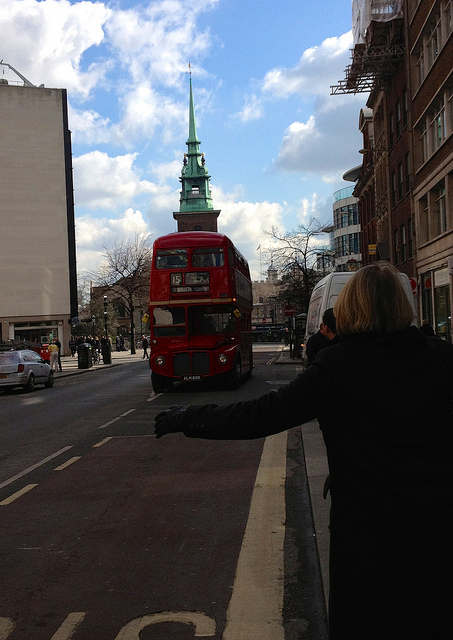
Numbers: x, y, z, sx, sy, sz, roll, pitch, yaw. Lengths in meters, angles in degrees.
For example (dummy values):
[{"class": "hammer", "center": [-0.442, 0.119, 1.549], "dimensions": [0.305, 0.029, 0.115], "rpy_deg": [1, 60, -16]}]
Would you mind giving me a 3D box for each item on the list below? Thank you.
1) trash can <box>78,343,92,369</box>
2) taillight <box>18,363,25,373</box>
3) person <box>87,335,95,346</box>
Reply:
[{"class": "trash can", "center": [-9.994, 2.597, 37.522], "dimensions": [0.780, 1.710, 0.814], "rpy_deg": [-2, -3, -24]}, {"class": "taillight", "center": [-8.667, 2.024, 22.488], "dimensions": [0.295, 0.278, 0.517], "rpy_deg": [-1, 0, -7]}, {"class": "person", "center": [-13.266, 2.038, 52.105], "dimensions": [0.720, 0.779, 0.243], "rpy_deg": [-3, -19, -11]}]
